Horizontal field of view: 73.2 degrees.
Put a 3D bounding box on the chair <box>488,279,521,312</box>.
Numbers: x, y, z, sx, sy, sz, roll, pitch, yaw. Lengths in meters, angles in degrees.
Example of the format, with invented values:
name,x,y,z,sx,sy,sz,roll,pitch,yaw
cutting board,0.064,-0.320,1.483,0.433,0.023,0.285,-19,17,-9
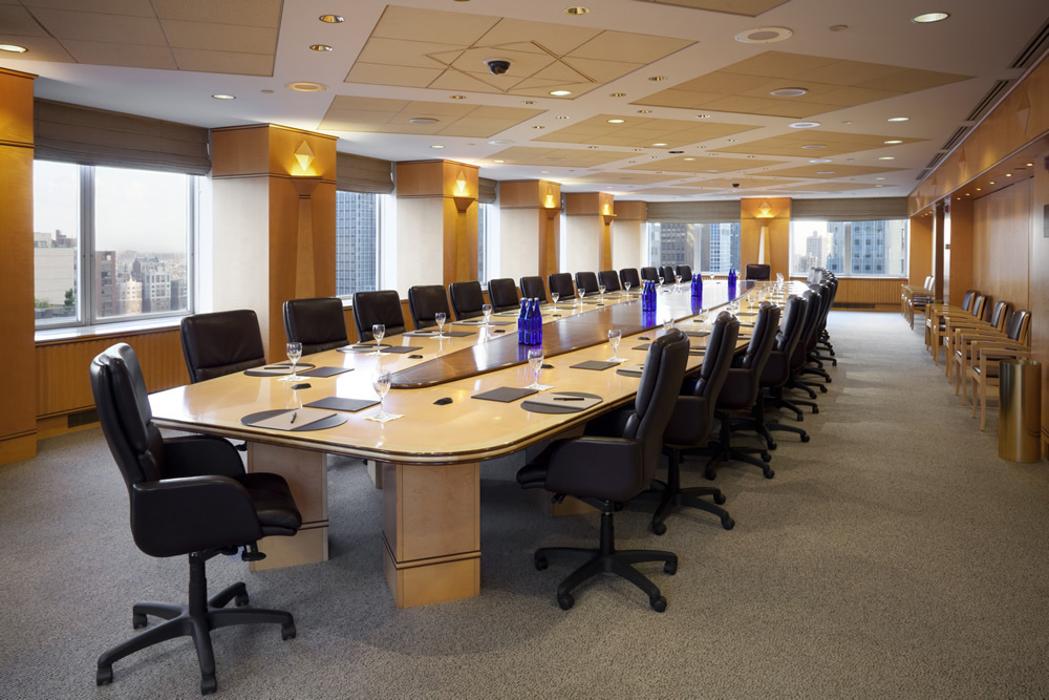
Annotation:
name,x,y,z,sx,sy,sz,roll,pitch,yaw
chair,-0.310,-0.768,9.506,0.429,0.570,0.433,7,9,39

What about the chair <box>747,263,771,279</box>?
name,x,y,z,sx,sy,sz,roll,pitch,yaw
chair,5.779,-1.966,17.435,0.476,0.559,0.463,-1,-2,26

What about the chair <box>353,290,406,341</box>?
name,x,y,z,sx,sy,sz,roll,pitch,yaw
chair,-1.460,-0.378,7.174,0.537,0.590,0.445,6,6,44

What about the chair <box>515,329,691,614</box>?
name,x,y,z,sx,sy,sz,roll,pitch,yaw
chair,0.511,0.739,4.630,1.020,1.614,1.046,1,3,21

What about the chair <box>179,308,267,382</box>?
name,x,y,z,sx,sy,sz,roll,pitch,yaw
chair,-2.344,-0.113,5.583,0.564,0.774,0.570,3,8,30

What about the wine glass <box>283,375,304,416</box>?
name,x,y,z,sx,sy,sz,roll,pitch,yaw
wine glass,-1.532,0.302,4.686,0.158,0.185,0.155,-6,11,-39

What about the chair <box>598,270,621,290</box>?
name,x,y,z,sx,sy,sz,roll,pitch,yaw
chair,1.479,-1.290,12.832,0.377,0.406,0.388,1,3,44

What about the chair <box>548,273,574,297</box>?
name,x,y,z,sx,sy,sz,roll,pitch,yaw
chair,0.597,-1.041,11.156,0.385,0.493,0.369,3,4,42

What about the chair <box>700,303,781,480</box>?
name,x,y,z,sx,sy,sz,roll,pitch,yaw
chair,1.757,0.333,6.261,0.895,1.396,0.880,0,-2,5

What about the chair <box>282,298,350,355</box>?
name,x,y,z,sx,sy,sz,roll,pitch,yaw
chair,-1.914,-0.266,6.487,0.527,0.699,0.543,-5,0,-41

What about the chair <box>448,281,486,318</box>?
name,x,y,z,sx,sy,sz,roll,pitch,yaw
chair,-0.770,-0.641,8.736,0.460,0.609,0.440,5,5,41

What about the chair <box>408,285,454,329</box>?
name,x,y,z,sx,sy,sz,roll,pitch,yaw
chair,-1.070,-0.518,7.917,0.499,0.597,0.520,3,5,38

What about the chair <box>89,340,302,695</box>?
name,x,y,z,sx,sy,sz,roll,pitch,yaw
chair,-1.900,0.843,3.910,1.040,1.728,1.068,12,18,40
